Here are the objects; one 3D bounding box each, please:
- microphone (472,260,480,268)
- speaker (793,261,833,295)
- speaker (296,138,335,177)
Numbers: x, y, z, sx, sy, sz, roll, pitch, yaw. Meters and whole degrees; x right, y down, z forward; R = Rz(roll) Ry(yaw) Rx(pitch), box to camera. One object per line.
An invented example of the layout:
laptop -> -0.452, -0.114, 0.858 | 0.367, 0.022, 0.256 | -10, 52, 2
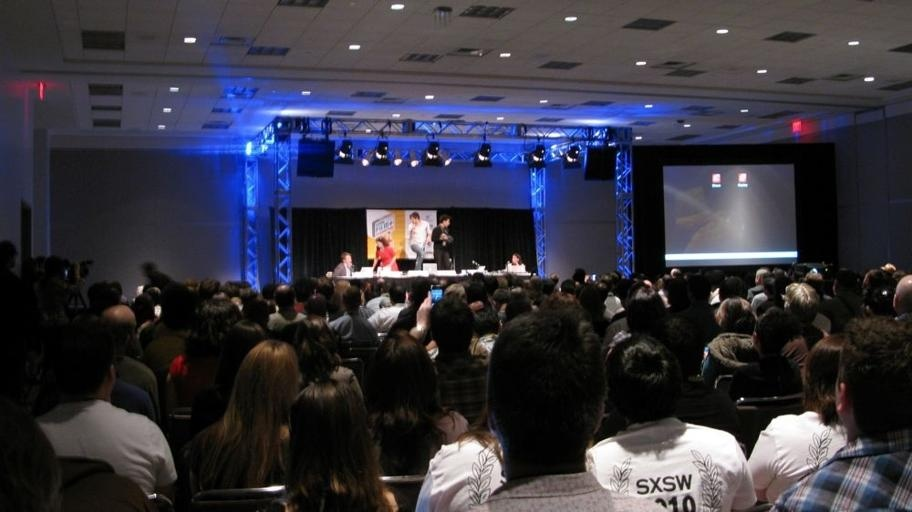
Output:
microphone -> 0.659, 0.256, 21.012 | 0.254, 0.211, 0.820 | 4, -2, -6
speaker -> 6.171, 0.371, 11.206 | 0.577, 0.504, 0.966 | 3, 1, 18
speaker -> -3.720, -2.655, 17.494 | 1.101, 0.962, 0.991 | 0, 5, -14
